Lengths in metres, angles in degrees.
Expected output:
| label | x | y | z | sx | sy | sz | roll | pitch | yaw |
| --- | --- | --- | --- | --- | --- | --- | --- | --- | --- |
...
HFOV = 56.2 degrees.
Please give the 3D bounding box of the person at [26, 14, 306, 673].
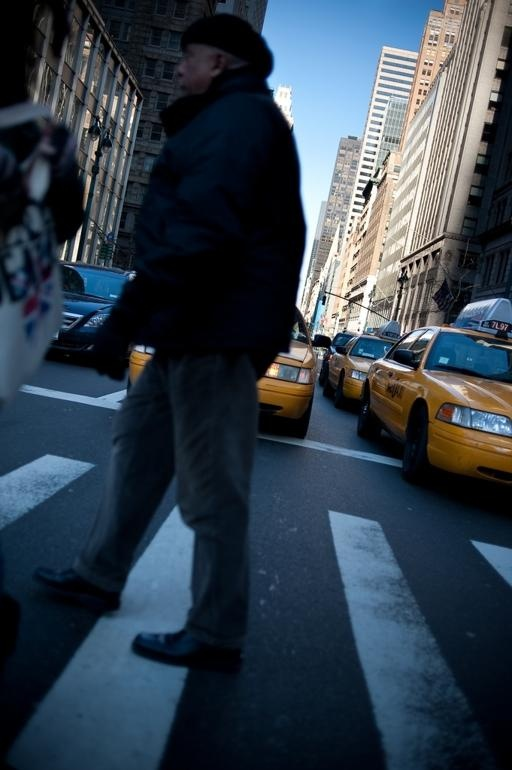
| label | x | y | z | sx | sy | sz | roll | pitch | yaw |
| --- | --- | --- | --- | --- | --- | --- | --- | --- | --- |
| person | -0.314 | -0.154 | 1.654 | 0.813 | 2.082 | 0.761 | 3 | 2 | 1 |
